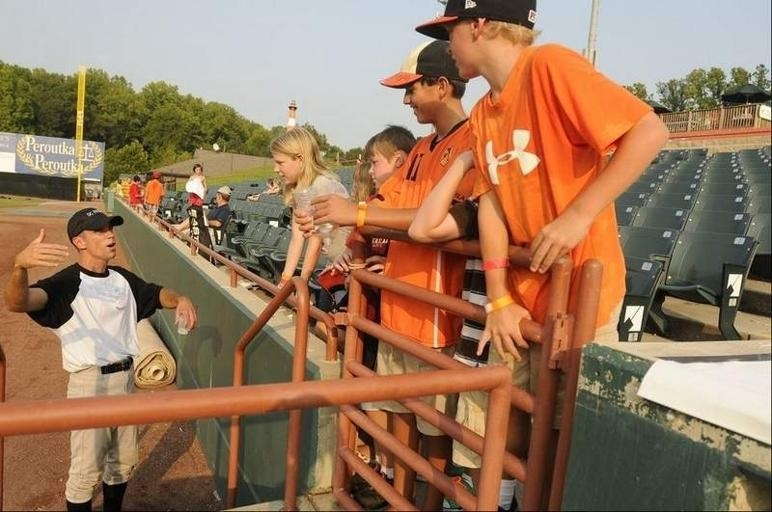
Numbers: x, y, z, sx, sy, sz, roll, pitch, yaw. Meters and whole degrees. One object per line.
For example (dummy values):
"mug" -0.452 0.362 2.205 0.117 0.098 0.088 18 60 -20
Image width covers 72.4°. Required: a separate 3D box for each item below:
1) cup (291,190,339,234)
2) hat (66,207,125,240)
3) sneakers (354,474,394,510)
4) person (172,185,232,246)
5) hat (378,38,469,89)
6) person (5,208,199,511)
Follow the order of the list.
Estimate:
"cup" -0.404 -0.265 2.811 0.268 0.271 0.241 1 14 -14
"hat" -2.373 -0.291 4.280 0.429 0.208 0.286 -22 7 24
"sneakers" -0.080 1.162 2.679 0.188 0.069 0.146 21 13 39
"person" -3.321 -0.622 9.681 0.938 1.418 0.976 9 8 -8
"hat" 0.199 -1.051 2.865 0.435 0.217 0.282 -5 14 6
"person" -2.228 1.051 4.089 1.177 2.750 1.413 1 9 -22
